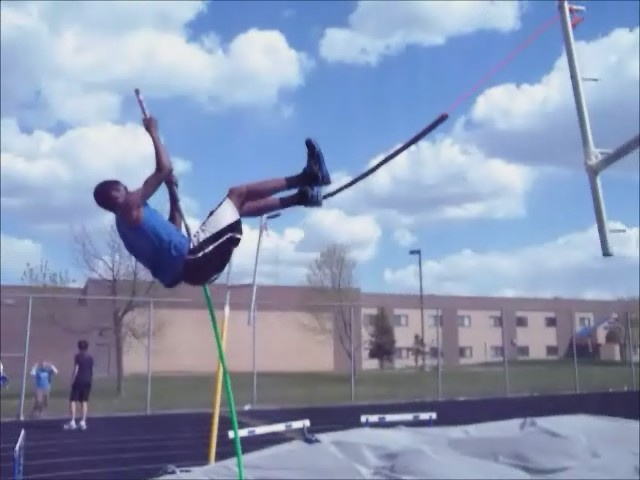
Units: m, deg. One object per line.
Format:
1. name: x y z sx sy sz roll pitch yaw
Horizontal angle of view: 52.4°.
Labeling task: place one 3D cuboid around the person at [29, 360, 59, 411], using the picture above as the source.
1. person: -6.023 3.172 14.248 0.520 1.172 0.343 3 12 -11

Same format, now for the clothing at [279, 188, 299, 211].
1. clothing: -0.330 -0.444 6.959 0.219 0.204 0.175 -3 -10 -4

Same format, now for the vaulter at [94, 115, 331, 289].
1. vaulter: -1.274 -0.698 7.495 2.510 2.088 1.221 -20 -6 -12

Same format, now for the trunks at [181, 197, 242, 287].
1. trunks: -1.275 0.068 7.199 0.957 0.329 0.556 -23 18 -10

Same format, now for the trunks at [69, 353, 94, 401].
1. trunks: -5.071 2.903 13.767 0.448 1.039 0.305 1 -10 -24

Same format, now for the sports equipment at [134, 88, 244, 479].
1. sports equipment: -2.333 1.950 11.244 0.354 5.802 0.277 -17 -8 1

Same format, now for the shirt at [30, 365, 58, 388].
1. shirt: -6.002 2.909 14.232 0.660 0.726 0.394 3 -11 -24
